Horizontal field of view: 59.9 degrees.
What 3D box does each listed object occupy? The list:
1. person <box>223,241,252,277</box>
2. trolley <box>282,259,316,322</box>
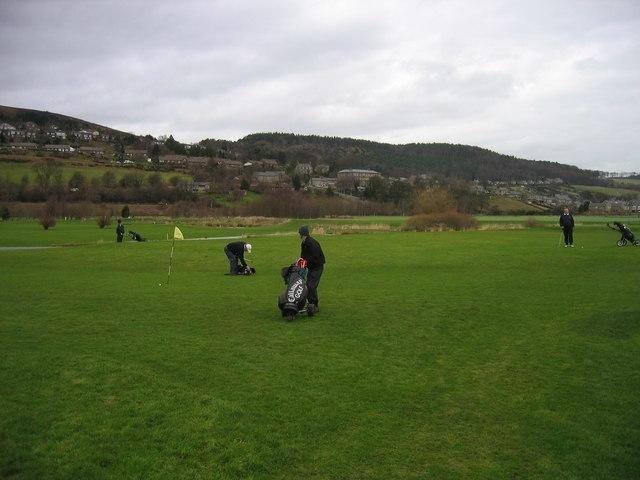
[{"bbox_3d":[-3.743,0.755,25.726,1.473,1.538,1.164,-3,15,-34],"label":"person"},{"bbox_3d":[-0.738,1.516,17.300,0.928,0.856,1.869,13,27,2],"label":"trolley"}]
